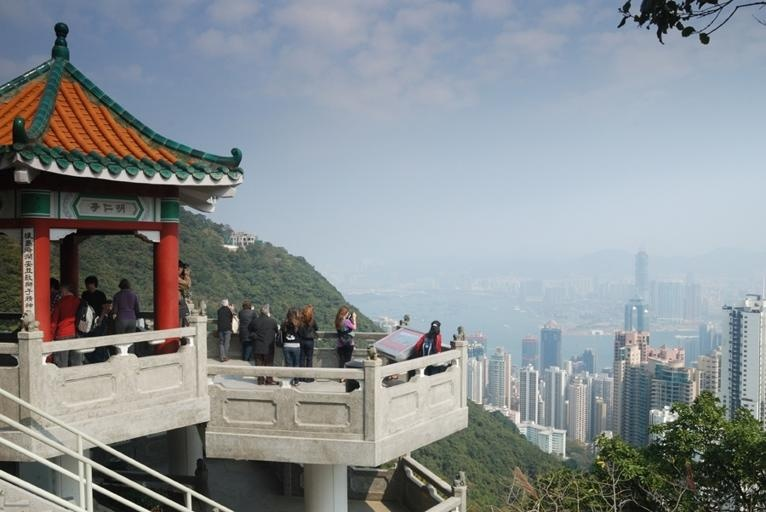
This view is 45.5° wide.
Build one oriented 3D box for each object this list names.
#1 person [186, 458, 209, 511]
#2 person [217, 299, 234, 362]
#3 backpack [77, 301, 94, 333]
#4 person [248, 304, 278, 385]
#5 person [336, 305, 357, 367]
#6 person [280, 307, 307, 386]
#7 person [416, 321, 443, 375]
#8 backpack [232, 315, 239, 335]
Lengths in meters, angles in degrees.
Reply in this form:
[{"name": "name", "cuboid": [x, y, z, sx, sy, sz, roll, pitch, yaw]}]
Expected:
[{"name": "person", "cuboid": [-5.737, 7.143, 28.794, 0.560, 1.540, 1.890, 1, -1, -11]}, {"name": "person", "cuboid": [-5.070, 2.352, 29.328, 0.502, 1.964, 1.185, 1, -2, -10]}, {"name": "backpack", "cuboid": [-8.167, 1.701, 25.147, 0.295, 0.897, 0.530, 0, -2, 24]}, {"name": "person", "cuboid": [-3.564, 2.348, 27.384, 0.826, 1.835, 0.558, 1, -2, -9]}, {"name": "person", "cuboid": [-1.157, 2.451, 27.887, 0.631, 1.883, 1.529, 1, -1, -3]}, {"name": "person", "cuboid": [-2.738, 2.370, 26.997, 0.619, 1.697, 0.500, 1, -2, -2]}, {"name": "person", "cuboid": [1.334, 2.763, 26.913, 0.695, 1.870, 0.628, 14, 30, 15]}, {"name": "backpack", "cuboid": [-4.803, 2.198, 29.614, 0.352, 0.469, 0.111, 0, 0, 21]}]
